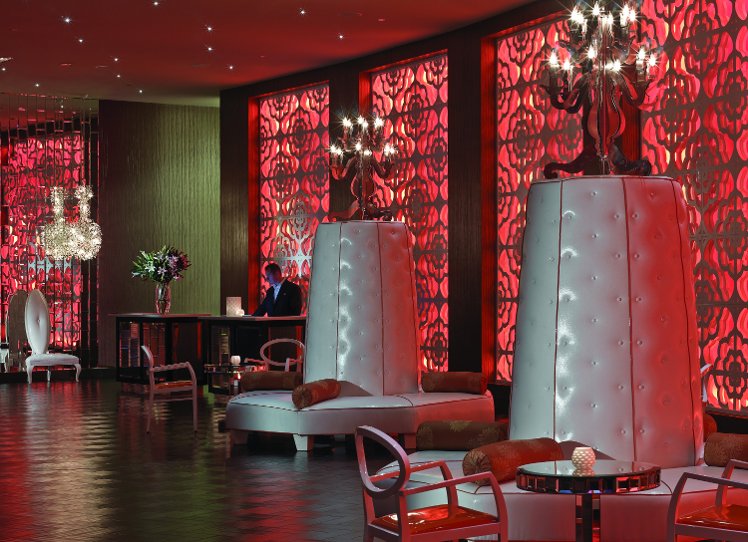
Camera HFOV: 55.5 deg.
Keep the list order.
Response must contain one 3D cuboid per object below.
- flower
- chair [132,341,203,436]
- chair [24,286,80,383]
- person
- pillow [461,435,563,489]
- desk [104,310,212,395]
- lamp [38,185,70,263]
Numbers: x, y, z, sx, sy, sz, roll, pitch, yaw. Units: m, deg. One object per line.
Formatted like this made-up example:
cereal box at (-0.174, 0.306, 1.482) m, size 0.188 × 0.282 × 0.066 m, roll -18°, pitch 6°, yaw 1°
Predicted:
flower at (-3.910, 0.143, 13.095) m, size 0.896 × 1.285 × 0.501 m, roll 0°, pitch -3°, yaw -8°
chair at (-2.543, 1.459, 9.086) m, size 0.780 × 0.974 × 0.798 m, roll -3°, pitch -4°, yaw 31°
chair at (-6.278, 1.243, 13.806) m, size 0.884 × 1.774 × 0.912 m, roll 1°, pitch -4°, yaw -28°
person at (-1.554, 0.427, 11.774) m, size 0.805 × 1.502 × 0.825 m, roll 4°, pitch -8°, yaw -32°
pillow at (0.916, 1.182, 4.676) m, size 0.737 × 0.235 × 0.258 m, roll -1°, pitch -33°, yaw -40°
desk at (-4.032, 1.467, 13.390) m, size 1.611 × 1.479 × 1.123 m, roll -1°, pitch 0°, yaw 38°
lamp at (-6.426, -0.979, 14.310) m, size 0.546 × 1.479 × 0.165 m, roll 1°, pitch -4°, yaw -28°
